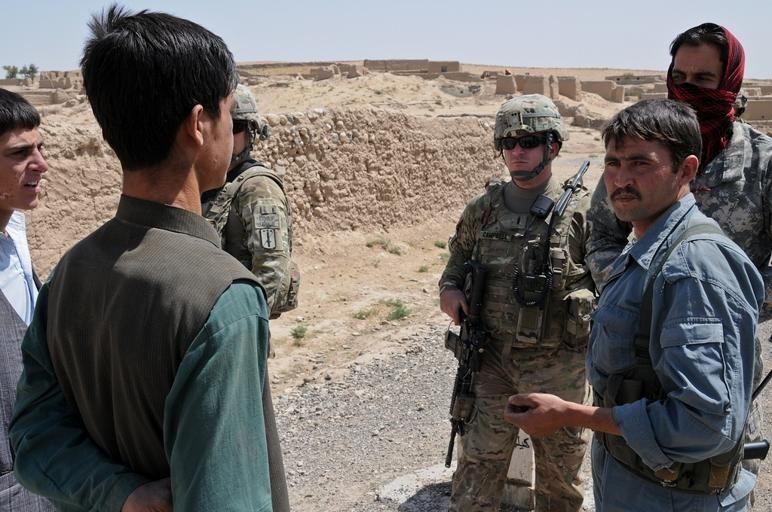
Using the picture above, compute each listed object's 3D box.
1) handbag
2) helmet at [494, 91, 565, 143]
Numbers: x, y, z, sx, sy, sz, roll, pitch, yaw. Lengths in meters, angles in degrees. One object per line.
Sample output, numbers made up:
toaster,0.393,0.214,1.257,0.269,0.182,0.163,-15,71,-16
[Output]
handbag,1.141,0.409,2.760,0.584,1.051,0.353,2,12,16
helmet,0.874,-0.821,4.194,0.322,0.197,0.330,-1,0,26
